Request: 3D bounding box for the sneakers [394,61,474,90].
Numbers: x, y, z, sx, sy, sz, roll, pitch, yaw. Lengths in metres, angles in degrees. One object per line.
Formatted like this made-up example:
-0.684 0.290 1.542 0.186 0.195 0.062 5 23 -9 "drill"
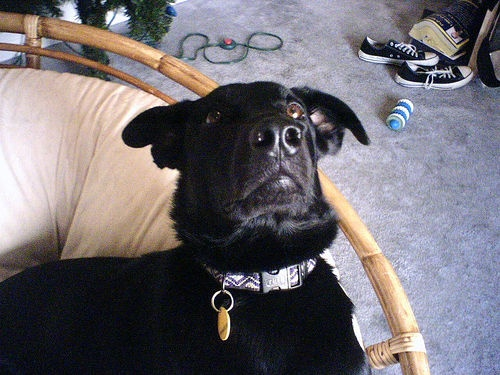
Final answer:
1.301 -0.772 4.520 0.535 0.192 0.262 -3 41 -5 "sneakers"
